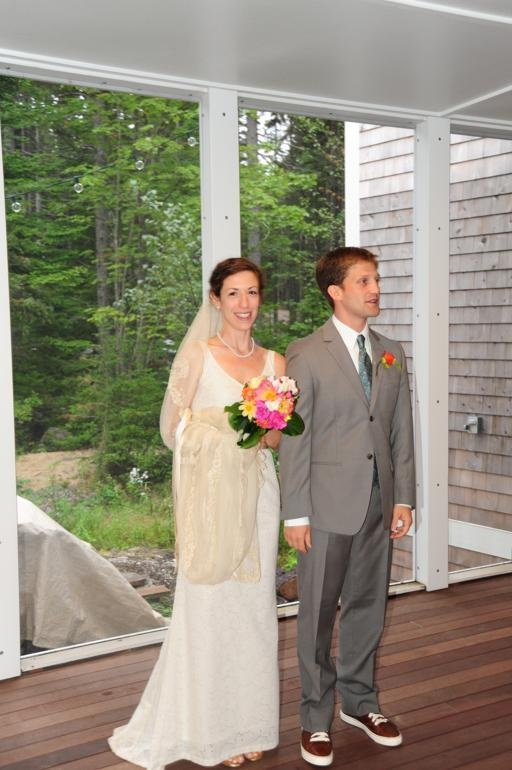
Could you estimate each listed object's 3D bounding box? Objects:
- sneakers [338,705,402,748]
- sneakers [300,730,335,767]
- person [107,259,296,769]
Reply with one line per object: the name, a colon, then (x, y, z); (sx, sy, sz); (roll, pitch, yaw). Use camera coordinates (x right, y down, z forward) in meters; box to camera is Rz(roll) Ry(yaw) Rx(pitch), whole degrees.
sneakers: (0.403, 1.182, 2.274); (0.075, 0.072, 0.200); (-2, -5, -33)
sneakers: (0.196, 1.168, 2.111); (0.108, 0.090, 0.145); (0, 1, 3)
person: (-0.182, 0.400, 2.105); (0.543, 1.636, 0.370); (0, 1, 2)
